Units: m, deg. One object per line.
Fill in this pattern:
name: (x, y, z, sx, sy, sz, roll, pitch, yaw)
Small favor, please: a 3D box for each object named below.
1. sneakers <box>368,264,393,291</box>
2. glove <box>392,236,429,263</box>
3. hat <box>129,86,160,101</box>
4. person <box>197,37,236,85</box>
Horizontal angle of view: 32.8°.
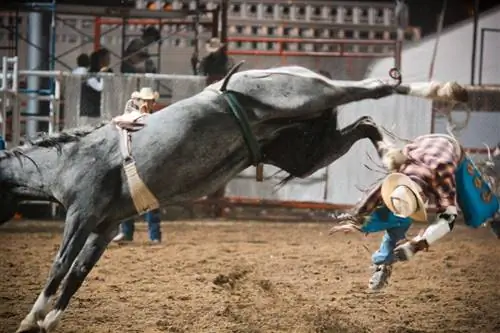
sneakers: (2.307, 1.917, 15.082, 0.239, 0.653, 0.280, 36, 2, 8)
glove: (2.633, 1.346, 13.989, 0.577, 0.344, 0.226, -29, -14, 3)
hat: (-2.077, -1.425, 16.738, 0.631, 0.251, 0.701, 0, -3, -9)
person: (-0.990, -2.196, 17.888, 0.947, 0.989, 0.248, 2, 2, 35)
